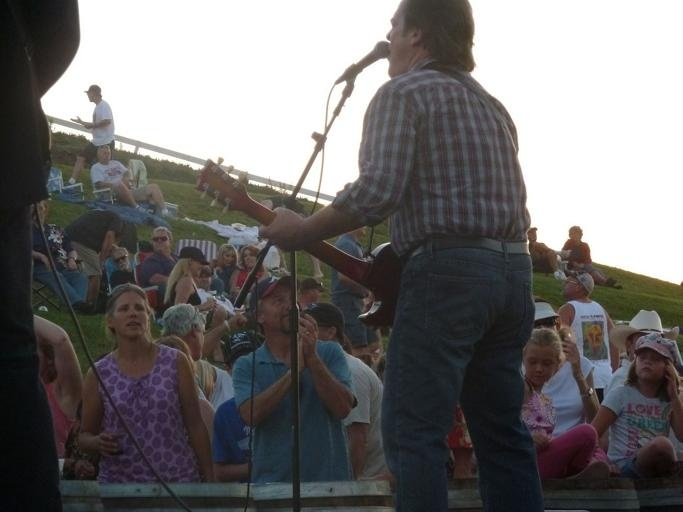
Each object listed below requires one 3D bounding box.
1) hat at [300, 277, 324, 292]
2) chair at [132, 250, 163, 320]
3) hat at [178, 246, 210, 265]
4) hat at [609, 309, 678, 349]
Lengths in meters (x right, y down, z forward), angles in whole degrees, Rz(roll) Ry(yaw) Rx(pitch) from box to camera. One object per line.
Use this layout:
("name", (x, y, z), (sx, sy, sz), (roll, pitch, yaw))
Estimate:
("hat", (-0.378, 0.356, 8.031), (0.233, 0.166, 0.166), (3, -3, -14))
("chair", (-2.909, 0.484, 9.613), (0.447, 0.821, 0.469), (-17, -4, 3))
("hat", (-2.289, -0.036, 9.783), (0.337, 0.229, 0.267), (0, 3, -22))
("hat", (3.720, 0.872, 7.985), (0.584, 0.334, 0.737), (9, -17, 0))
